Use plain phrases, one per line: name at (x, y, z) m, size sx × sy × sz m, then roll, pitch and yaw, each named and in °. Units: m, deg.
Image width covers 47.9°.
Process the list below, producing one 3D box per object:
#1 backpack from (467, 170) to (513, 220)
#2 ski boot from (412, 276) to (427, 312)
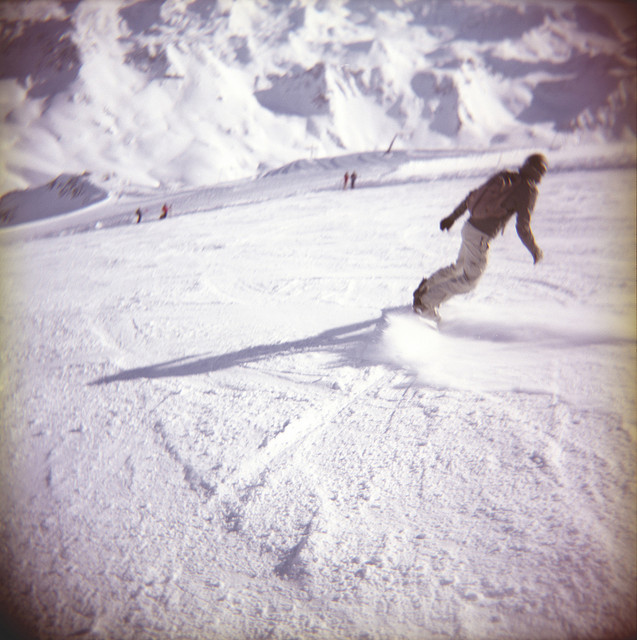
backpack at (1.512, -1.096, 6.286) m, size 0.367 × 0.101 × 0.377 m, roll -54°, pitch 50°, yaw 25°
ski boot at (0.984, -0.305, 6.911) m, size 0.080 × 0.125 × 0.421 m, roll 9°, pitch 74°, yaw 1°
